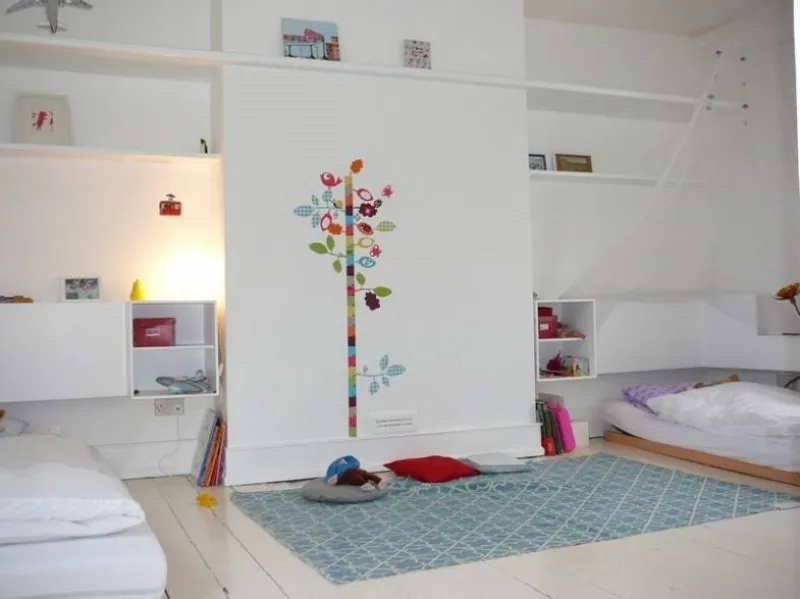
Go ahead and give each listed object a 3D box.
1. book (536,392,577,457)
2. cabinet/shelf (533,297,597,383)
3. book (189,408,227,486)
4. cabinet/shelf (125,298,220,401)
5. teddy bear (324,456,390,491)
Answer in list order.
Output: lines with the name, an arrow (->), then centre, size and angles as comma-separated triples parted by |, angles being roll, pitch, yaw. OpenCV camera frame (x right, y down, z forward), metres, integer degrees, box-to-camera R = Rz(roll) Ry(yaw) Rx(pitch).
book -> 1.285, 1.040, 4.922 | 0.154, 0.440, 0.331 | -11, 16, 4
cabinet/shelf -> 1.415, 0.337, 5.054 | 0.490, 0.680, 0.710 | -1, 1, 17
book -> -1.376, 1.063, 4.228 | 0.243, 0.465, 0.350 | -2, 1, -20
cabinet/shelf -> -1.636, 0.361, 4.215 | 0.804, 0.820, 0.482 | 0, -2, -22
teddy bear -> -0.299, 1.153, 3.880 | 0.284, 0.140, 0.217 | 2, -2, 43
